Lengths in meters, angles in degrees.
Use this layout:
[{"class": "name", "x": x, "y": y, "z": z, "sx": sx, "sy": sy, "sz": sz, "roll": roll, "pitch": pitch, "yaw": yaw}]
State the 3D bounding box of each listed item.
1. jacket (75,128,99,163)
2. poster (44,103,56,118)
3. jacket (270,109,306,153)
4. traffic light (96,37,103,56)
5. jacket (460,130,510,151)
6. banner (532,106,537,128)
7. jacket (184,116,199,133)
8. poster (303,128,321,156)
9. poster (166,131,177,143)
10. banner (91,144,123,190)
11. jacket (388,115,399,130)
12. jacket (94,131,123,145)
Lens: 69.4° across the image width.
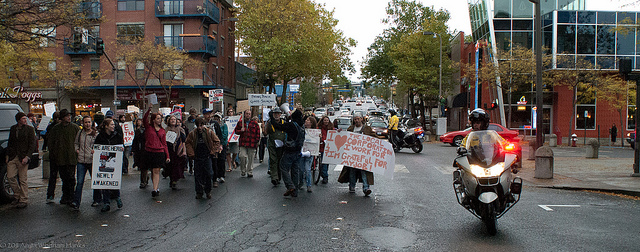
[{"class": "jacket", "x": -17.123, "y": 1.436, "z": 33.895, "sx": 1.428, "sy": 2.539, "sz": 1.425, "roll": 0, "pitch": 0, "yaw": -6}, {"class": "poster", "x": -25.181, "y": -1.556, "z": 43.186, "sx": 0.738, "sy": 1.203, "sz": 2.356, "roll": -3, "pitch": 2, "yaw": -31}, {"class": "jacket", "x": -2.459, "y": 0.422, "z": 34.600, "sx": 1.676, "sy": 3.391, "sz": 1.540, "roll": -1, "pitch": 2, "yaw": -20}, {"class": "traffic light", "x": -22.106, "y": -8.119, "z": 46.414, "sx": 0.590, "sy": 1.653, "sz": 0.892, "roll": -3, "pitch": 3, "yaw": -23}, {"class": "jacket", "x": 11.117, "y": 0.992, "z": 31.705, "sx": 2.441, "sy": 0.778, "sz": 1.507, "roll": -2, "pitch": 4, "yaw": 4}, {"class": "banner", "x": 22.353, "y": -0.889, "z": 48.306, "sx": 0.226, "sy": 2.070, "sz": 3.206, "roll": -1, "pitch": 2, "yaw": 22}, {"class": "jacket", "x": -10.625, "y": -0.155, "z": 37.862, "sx": 1.644, "sy": 1.266, "sz": 0.453, "roll": -8, "pitch": -22, "yaw": -11}, {"class": "poster", "x": -0.613, "y": 1.230, "z": 35.089, "sx": 0.069, "sy": 1.982, "sz": 2.204, "roll": -2, "pitch": -9, "yaw": 34}, {"class": "poster", "x": -11.375, "y": 0.839, "z": 35.389, "sx": 0.926, "sy": 0.683, "sz": 0.198, "roll": 9, "pitch": 2, "yaw": 8}, {"class": "banner", "x": -15.301, "y": 3.010, "z": 33.721, "sx": 2.045, "sy": 3.342, "sz": 1.629, "roll": 0, "pitch": 0, "yaw": -7}, {"class": "jacket", "x": 7.221, "y": -0.355, "z": 45.485, "sx": 0.866, "sy": 1.428, "sz": 0.845, "roll": -1, "pitch": 2, "yaw": 10}, {"class": "jacket", "x": -15.283, "y": 1.052, "z": 33.683, "sx": 2.177, "sy": 1.202, "sz": 0.917, "roll": 0, "pitch": -5, "yaw": -9}]
